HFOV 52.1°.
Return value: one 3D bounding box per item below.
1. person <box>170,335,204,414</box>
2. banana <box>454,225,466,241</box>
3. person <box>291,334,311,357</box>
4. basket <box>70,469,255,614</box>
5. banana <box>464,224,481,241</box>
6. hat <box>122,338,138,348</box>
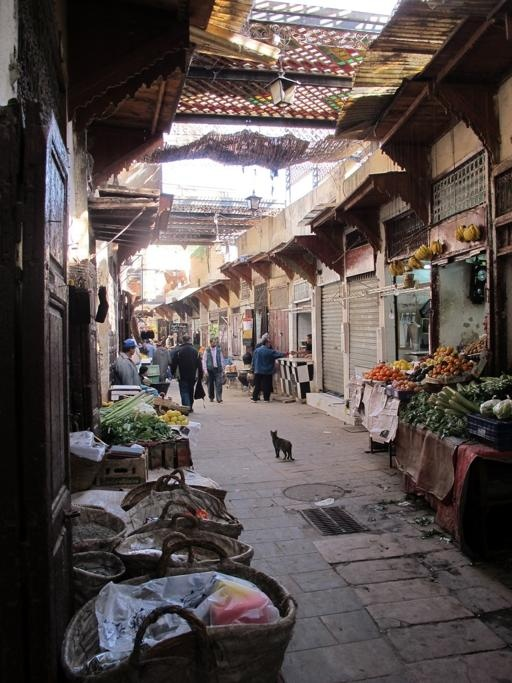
[{"bbox_3d":[-1.691,0.800,12.571,0.759,1.874,1.108,-1,-1,-8],"label":"person"},{"bbox_3d":[2.531,-1.321,6.451,0.132,0.185,0.172,0,-7,-6],"label":"banana"},{"bbox_3d":[1.315,0.138,15.539,0.615,0.654,1.211,-1,-1,3],"label":"person"},{"bbox_3d":[-0.558,1.040,2.781,0.733,0.375,0.609,3,-3,-8],"label":"basket"},{"bbox_3d":[2.571,-1.261,6.169,0.139,0.195,0.174,-3,-9,24],"label":"banana"},{"bbox_3d":[-2.818,0.040,11.441,0.294,0.133,0.432,1,0,-11],"label":"hat"}]
